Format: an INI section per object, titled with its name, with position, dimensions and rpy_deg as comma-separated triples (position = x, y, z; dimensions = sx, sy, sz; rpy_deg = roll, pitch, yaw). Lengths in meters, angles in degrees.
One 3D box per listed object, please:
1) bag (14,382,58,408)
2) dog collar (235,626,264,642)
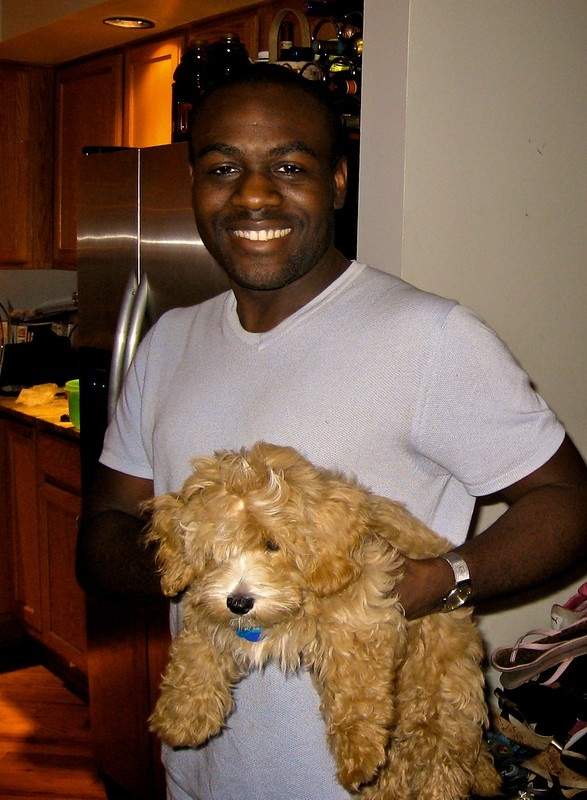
[bag]
position = -1.299, -0.022, 3.777
dimensions = 0.131, 0.063, 0.162
rpy_deg = -2, 13, -5
[dog collar]
position = -0.048, 0.263, 0.827
dimensions = 0.030, 0.029, 0.007
rpy_deg = 21, 47, -15
